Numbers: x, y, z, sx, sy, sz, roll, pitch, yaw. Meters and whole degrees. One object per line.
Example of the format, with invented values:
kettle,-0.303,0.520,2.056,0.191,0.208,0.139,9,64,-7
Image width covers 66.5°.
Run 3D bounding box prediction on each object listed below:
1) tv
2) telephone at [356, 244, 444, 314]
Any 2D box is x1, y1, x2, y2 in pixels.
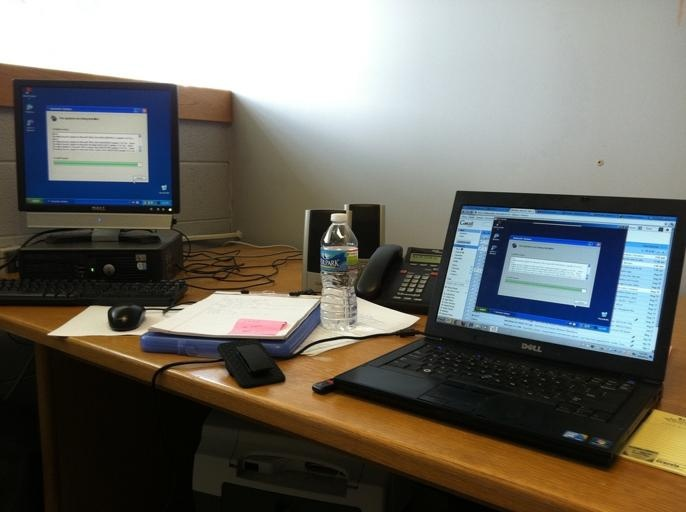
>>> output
tv,-0.773,-0.310,1.666,0.622,0.456,0.050,5,9,15
telephone,0.183,0.065,1.448,0.269,0.074,0.206,8,40,9
